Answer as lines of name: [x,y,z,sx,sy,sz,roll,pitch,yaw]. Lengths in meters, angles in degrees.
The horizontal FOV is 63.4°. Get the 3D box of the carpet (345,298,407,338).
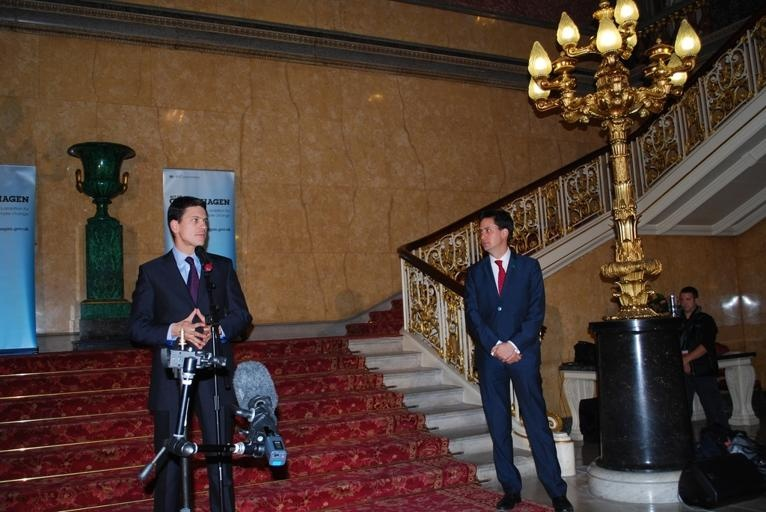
carpet: [-0.019,0.981,9.488,0.672,0.419,0.649,3,-9,-28]

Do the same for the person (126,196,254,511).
person: [-1.470,0.759,4.608,0.889,2.431,0.848,0,0,-5]

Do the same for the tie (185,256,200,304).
tie: [-1.446,0.192,4.662,0.086,0.371,0.073,-2,-8,-12]
